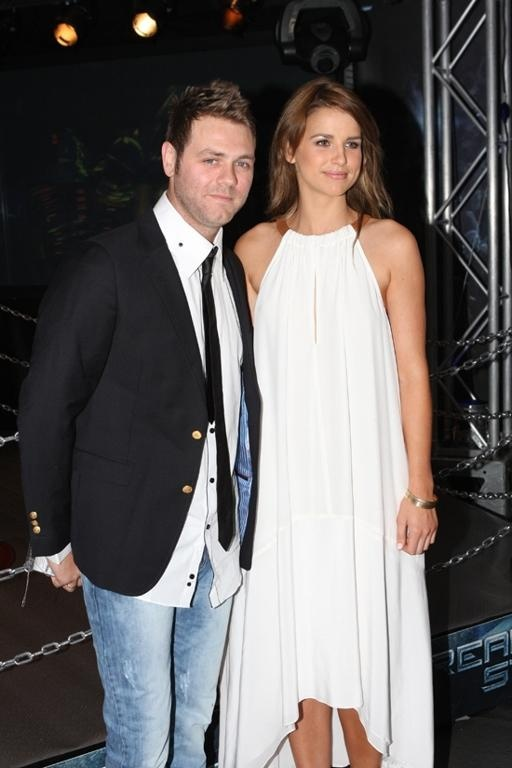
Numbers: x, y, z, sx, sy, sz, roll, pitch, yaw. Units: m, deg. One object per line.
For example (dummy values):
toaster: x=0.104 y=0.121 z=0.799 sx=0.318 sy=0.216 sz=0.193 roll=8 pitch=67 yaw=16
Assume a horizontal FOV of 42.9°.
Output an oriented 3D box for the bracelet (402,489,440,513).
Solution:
bracelet: x=0.397 y=0.275 z=1.532 sx=0.051 sy=0.021 sz=0.046 roll=22 pitch=13 yaw=-1
